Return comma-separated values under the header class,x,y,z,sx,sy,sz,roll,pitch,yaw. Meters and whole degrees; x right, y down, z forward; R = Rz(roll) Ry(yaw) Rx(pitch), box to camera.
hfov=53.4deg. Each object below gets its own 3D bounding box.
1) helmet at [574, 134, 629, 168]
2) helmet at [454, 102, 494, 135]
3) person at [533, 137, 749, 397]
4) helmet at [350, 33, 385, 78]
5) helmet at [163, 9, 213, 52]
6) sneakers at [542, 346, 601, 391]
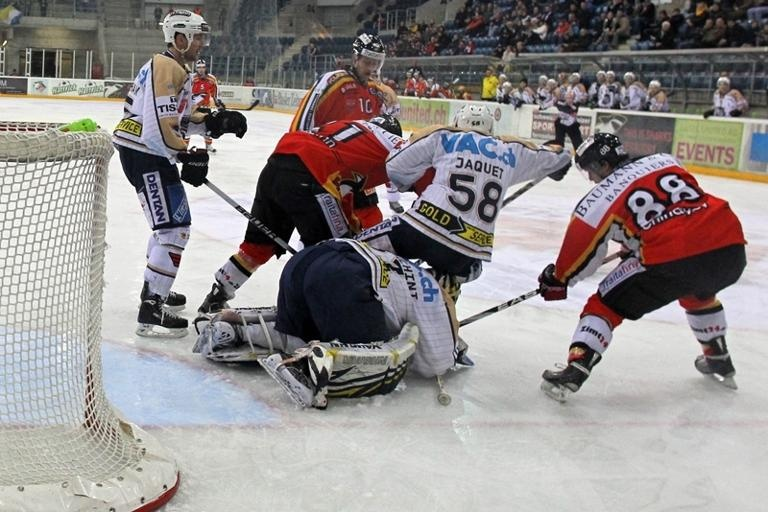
class,x,y,z,sx,sy,sz,roll,pitch,yaw
helmet,1.168,-0.579,4.336,0.210,0.223,0.264,10,6,38
helmet,0.505,-0.769,4.304,0.186,0.205,0.222,4,12,4
person,1.405,0.059,4.183,1.089,1.370,0.629,3,13,-7
helmet,-0.117,-1.610,6.119,0.278,0.293,0.297,4,26,-22
helmet,-1.199,-1.386,4.672,0.305,0.210,0.213,3,18,-4
sneakers,0.970,0.564,4.038,0.292,0.256,0.115,14,-1,-13
